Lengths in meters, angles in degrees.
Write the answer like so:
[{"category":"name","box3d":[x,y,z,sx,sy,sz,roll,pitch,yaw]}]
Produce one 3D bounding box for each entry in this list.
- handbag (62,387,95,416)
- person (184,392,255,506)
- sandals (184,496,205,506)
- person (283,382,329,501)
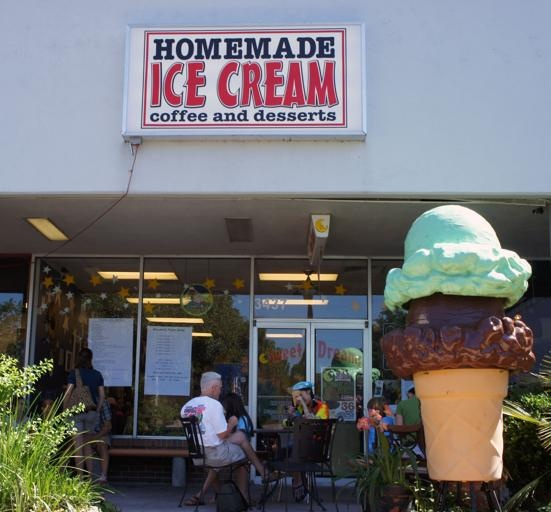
[{"category":"handbag","box3d":[-2.428,1.775,8.367,0.387,0.311,0.312,3,-8,-17]},{"category":"person","box3d":[-0.548,1.898,7.027,0.749,1.181,0.771,3,-7,-16]},{"category":"sandals","box3d":[-0.853,2.583,7.069,0.226,0.084,0.125,5,-8,-11]},{"category":"person","box3d":[0.328,2.151,7.792,0.569,1.294,0.485,-8,-22,37]}]
